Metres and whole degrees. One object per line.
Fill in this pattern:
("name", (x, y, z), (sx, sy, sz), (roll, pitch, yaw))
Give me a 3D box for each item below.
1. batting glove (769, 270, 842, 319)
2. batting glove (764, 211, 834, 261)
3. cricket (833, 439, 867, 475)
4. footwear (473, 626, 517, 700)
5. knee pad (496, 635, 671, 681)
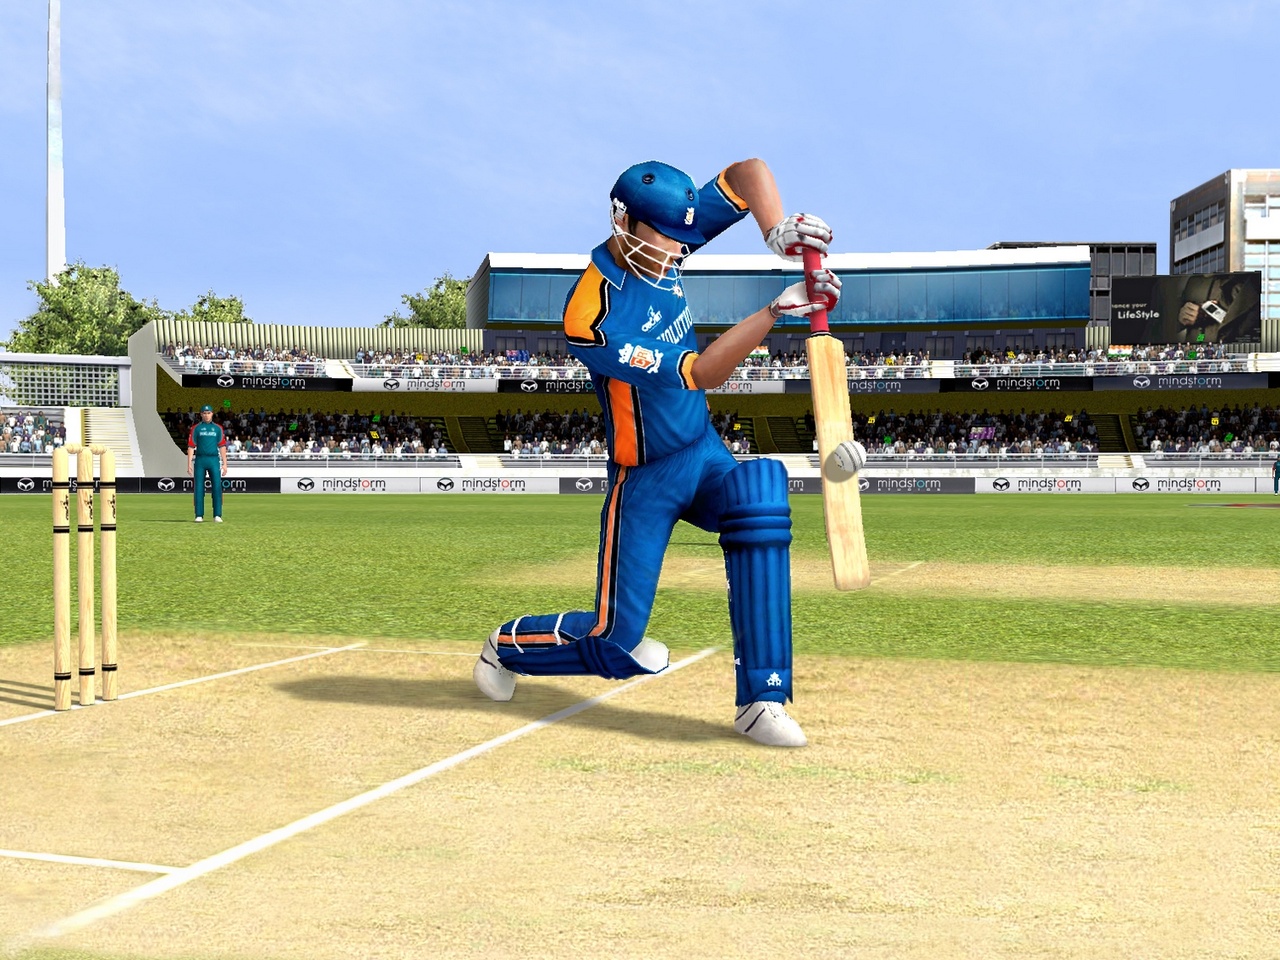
("batting glove", (0.777, -0.861, 8.938), (0.310, 0.139, 0.228), (-16, 32, 21))
("batting glove", (0.778, -1.185, 9.010), (0.327, 0.230, 0.199), (10, 16, 36))
("cricket", (1.047, -0.123, 9.078), (0.190, 0.166, 0.156), (-5, 37, -11))
("footwear", (-0.750, 1.010, 9.930), (0.181, 0.434, 0.187), (-5, 10, -28))
("knee pad", (-0.214, 0.892, 9.482), (0.631, 0.148, 0.357), (0, -3, 5))
